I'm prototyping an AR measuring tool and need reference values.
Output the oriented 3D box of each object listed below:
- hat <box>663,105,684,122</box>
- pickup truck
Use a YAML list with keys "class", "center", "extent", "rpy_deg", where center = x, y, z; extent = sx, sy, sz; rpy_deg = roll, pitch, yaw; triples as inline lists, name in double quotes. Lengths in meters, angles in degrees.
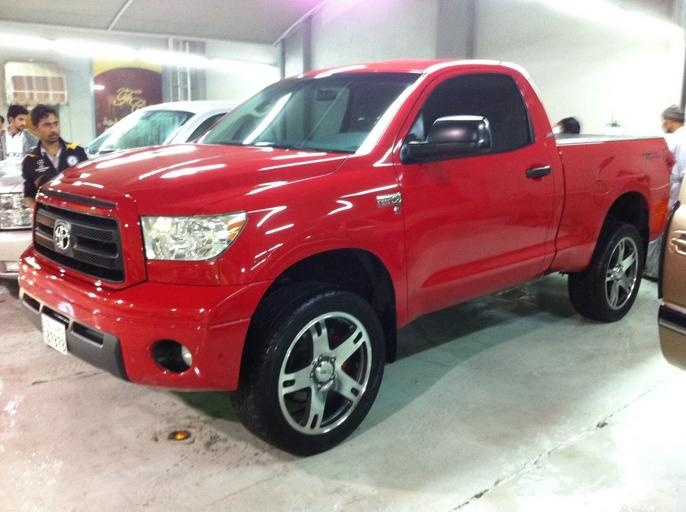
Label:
- class: "hat"
  center: [4.320, -1.874, 6.122]
  extent: [0.206, 0.203, 0.265]
  rpy_deg: [1, 15, 0]
- class: "pickup truck"
  center: [0.267, -0.086, 3.383]
  extent: [4.177, 1.604, 2.563]
  rpy_deg: [-7, 11, -35]
